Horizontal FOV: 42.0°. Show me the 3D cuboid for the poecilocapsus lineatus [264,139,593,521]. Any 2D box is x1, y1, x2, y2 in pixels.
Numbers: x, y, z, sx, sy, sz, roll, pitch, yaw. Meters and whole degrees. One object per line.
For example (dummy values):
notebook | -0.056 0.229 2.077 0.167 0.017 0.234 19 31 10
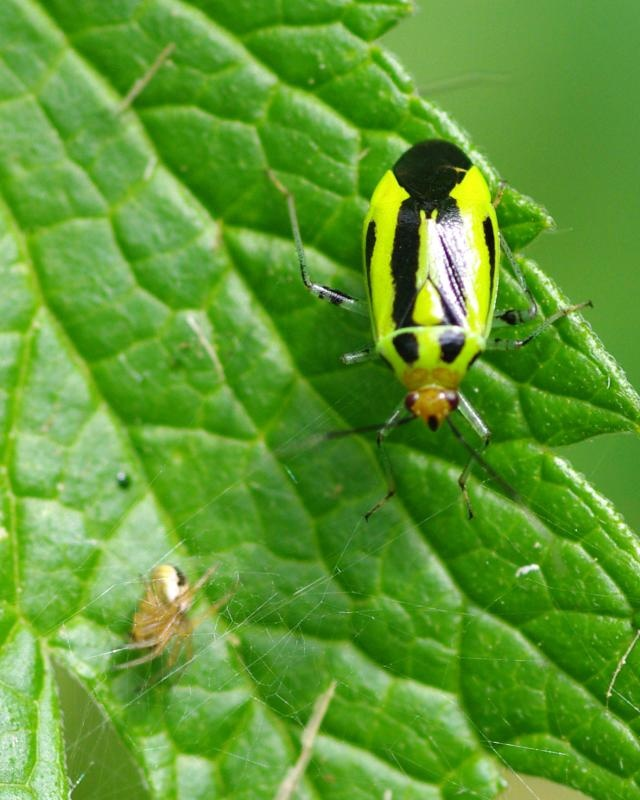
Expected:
poecilocapsus lineatus | 0.378 -0.217 3.180 1.400 1.412 0.411 0 5 3
